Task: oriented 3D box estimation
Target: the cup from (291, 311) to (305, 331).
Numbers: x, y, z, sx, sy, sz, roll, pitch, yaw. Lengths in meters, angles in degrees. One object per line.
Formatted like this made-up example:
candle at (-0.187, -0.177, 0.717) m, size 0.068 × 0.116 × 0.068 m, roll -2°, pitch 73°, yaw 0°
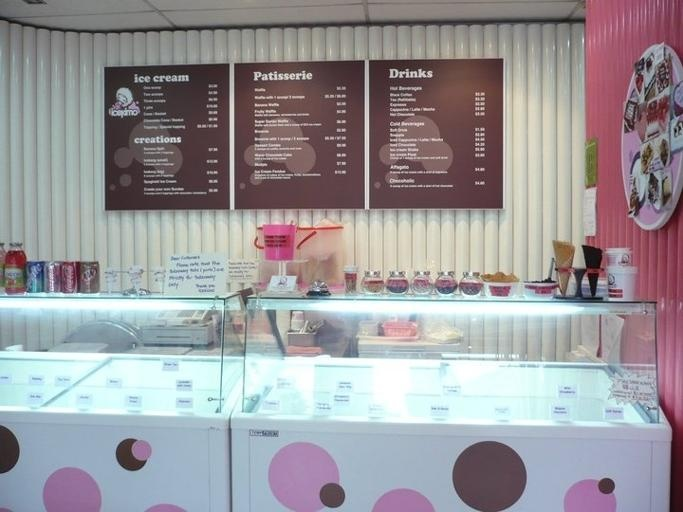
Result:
cup at (-0.206, 0.305, 2.907) m, size 0.068 × 0.102 × 0.078 m, roll 0°, pitch 3°, yaw 5°

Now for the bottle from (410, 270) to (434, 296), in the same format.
bottle at (0.381, 0.133, 2.992) m, size 0.089 × 0.109 × 0.100 m, roll 0°, pitch 3°, yaw 19°

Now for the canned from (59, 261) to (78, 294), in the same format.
canned at (-1.310, 0.092, 3.023) m, size 0.090 × 0.159 × 0.092 m, roll 15°, pitch 16°, yaw 42°

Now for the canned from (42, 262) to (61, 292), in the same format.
canned at (-1.387, 0.106, 3.006) m, size 0.088 × 0.130 × 0.035 m, roll 1°, pitch -1°, yaw -4°

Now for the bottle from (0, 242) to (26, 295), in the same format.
bottle at (-1.602, 0.061, 3.034) m, size 0.192 × 0.223 × 0.088 m, roll 1°, pitch 0°, yaw 21°

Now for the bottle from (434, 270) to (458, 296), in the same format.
bottle at (0.498, 0.131, 2.954) m, size 0.087 × 0.107 × 0.097 m, roll 0°, pitch 1°, yaw 19°

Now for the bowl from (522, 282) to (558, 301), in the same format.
bowl at (0.892, 0.149, 2.810) m, size 0.090 × 0.050 × 0.090 m, roll 0°, pitch 1°, yaw 0°

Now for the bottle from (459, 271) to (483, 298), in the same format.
bottle at (0.600, 0.135, 2.921) m, size 0.092 × 0.112 × 0.102 m, roll -1°, pitch 0°, yaw 22°

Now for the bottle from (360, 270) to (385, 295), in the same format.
bottle at (0.146, 0.130, 2.980) m, size 0.083 × 0.103 × 0.095 m, roll 0°, pitch 2°, yaw 9°

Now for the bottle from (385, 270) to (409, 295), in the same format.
bottle at (0.268, 0.125, 2.973) m, size 0.087 × 0.107 × 0.099 m, roll -1°, pitch 5°, yaw -8°

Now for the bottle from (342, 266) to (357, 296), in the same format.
bottle at (0.040, 0.112, 3.042) m, size 0.087 × 0.168 × 0.093 m, roll 0°, pitch 3°, yaw 0°
